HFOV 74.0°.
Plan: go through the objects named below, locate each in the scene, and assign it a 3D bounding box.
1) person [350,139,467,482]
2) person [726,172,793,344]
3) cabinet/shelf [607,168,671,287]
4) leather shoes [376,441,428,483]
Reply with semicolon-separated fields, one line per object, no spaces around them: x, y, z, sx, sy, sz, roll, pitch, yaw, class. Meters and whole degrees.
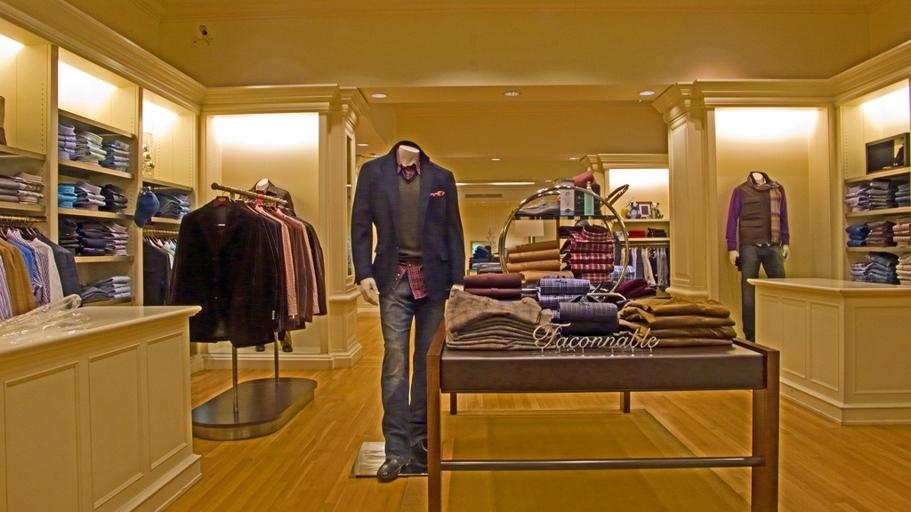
-0.401;0.427;5.038;0.928;2.787;0.394;-1;1;-9;person
3.705;-0.012;7.421;0.707;2.091;0.338;0;1;16;person
3.147;-0.500;10.414;0.984;2.046;0.680;0;1;16;cabinet/shelf
-0.428;1.696;5.013;0.619;0.209;0.219;7;-14;-38;leather shoes
